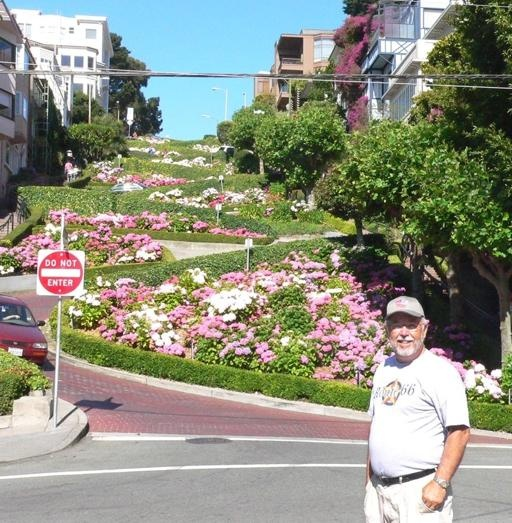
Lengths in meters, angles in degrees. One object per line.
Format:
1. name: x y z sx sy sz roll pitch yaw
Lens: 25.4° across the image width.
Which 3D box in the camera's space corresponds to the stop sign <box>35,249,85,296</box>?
1. stop sign: -3.357 0.146 19.526 1.017 1.052 0.084 0 3 -3
